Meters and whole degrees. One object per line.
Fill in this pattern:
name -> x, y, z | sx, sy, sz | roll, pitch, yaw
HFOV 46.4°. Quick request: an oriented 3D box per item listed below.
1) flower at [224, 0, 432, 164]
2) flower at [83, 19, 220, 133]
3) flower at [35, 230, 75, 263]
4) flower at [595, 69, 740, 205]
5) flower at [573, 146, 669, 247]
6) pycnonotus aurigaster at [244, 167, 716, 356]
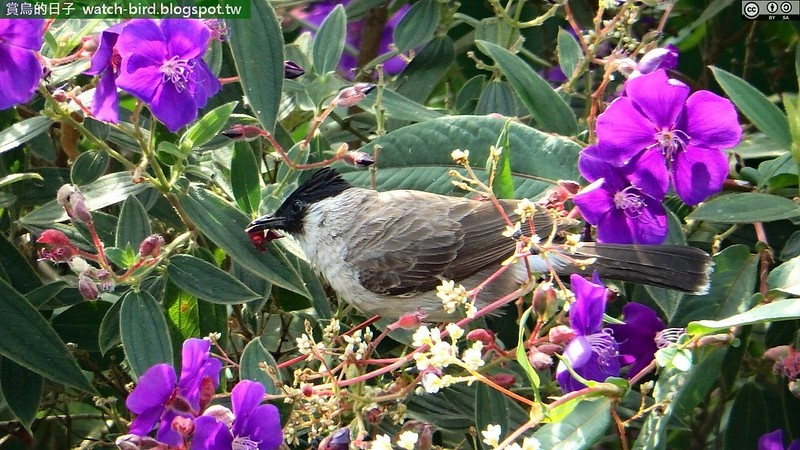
flower -> -0.222, -0.274, 2.358 | 0.370, 0.154, 0.288 | -10, 66, -10
flower -> -0.617, -0.384, 2.337 | 0.337, 0.247, 0.207 | -12, 39, -8
flower -> -0.876, 0.051, 2.389 | 0.097, 0.070, 0.045 | 19, 52, 41
flower -> 0.676, -0.218, 2.347 | 0.358, 0.338, 0.121 | -3, 51, 27
flower -> 0.558, -0.083, 2.372 | 0.267, 0.239, 0.095 | 6, 7, -11
pycnonotus aurigaster -> 0.196, 0.100, 2.680 | 1.264, 0.430, 0.328 | 0, 10, -1
